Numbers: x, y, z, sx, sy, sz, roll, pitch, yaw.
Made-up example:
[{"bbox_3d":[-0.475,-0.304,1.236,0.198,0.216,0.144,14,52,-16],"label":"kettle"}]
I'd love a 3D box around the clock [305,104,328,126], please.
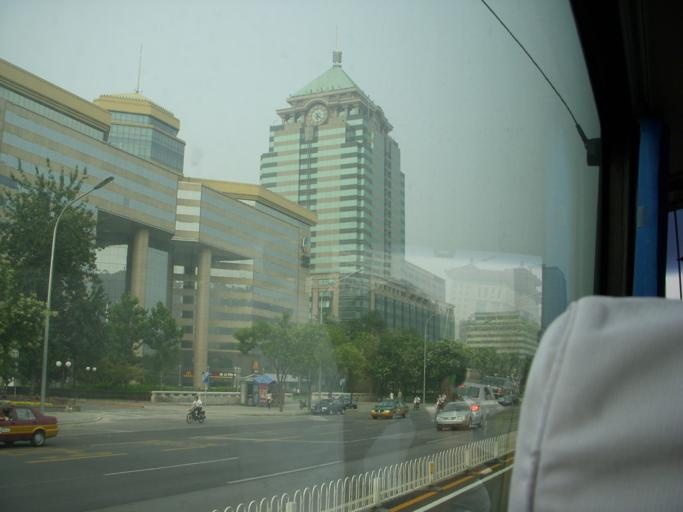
[{"bbox_3d":[-0.175,-1.047,6.072,0.029,0.165,0.148,9,35,40],"label":"clock"}]
